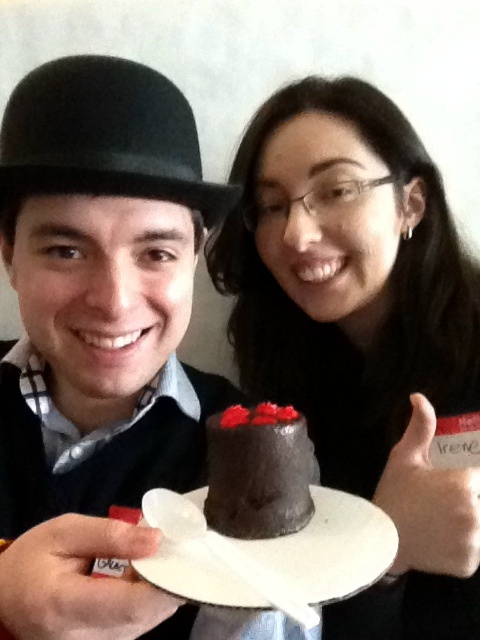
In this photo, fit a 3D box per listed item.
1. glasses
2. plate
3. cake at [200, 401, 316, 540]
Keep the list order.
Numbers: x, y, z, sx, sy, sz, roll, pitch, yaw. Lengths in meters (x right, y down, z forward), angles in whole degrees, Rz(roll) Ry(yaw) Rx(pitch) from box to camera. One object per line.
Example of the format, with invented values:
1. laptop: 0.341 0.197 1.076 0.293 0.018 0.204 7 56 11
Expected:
1. glasses: 0.254 -0.366 2.037 0.230 0.053 0.225 -16 2 -43
2. plate: 0.034 0.428 1.450 0.500 0.103 0.481 0 7 -8
3. cake: 0.039 0.323 1.582 0.306 0.230 0.268 -1 -1 -2
